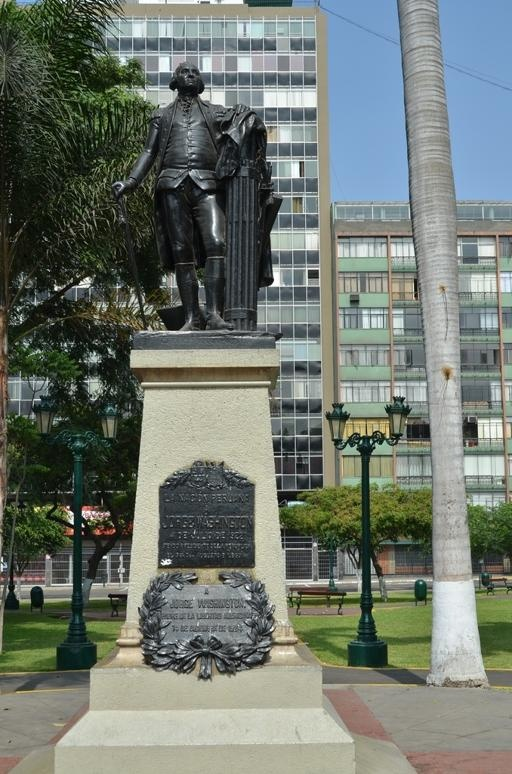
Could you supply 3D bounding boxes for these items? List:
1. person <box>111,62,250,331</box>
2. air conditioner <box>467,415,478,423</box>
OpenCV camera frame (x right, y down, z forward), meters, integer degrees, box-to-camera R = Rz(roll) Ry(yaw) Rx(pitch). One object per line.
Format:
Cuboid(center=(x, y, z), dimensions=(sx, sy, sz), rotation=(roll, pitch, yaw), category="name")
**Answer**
Cuboid(center=(-0.529, -1.368, 7.521), dimensions=(0.718, 2.021, 0.374), rotation=(-1, -9, -2), category="person")
Cuboid(center=(13.233, 1.983, 63.264), dimensions=(0.690, 0.666, 0.375), rotation=(-1, -16, 7), category="air conditioner")
